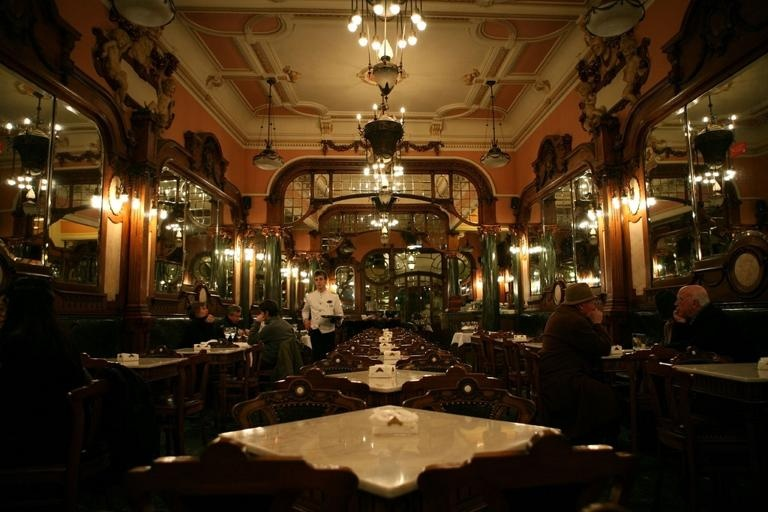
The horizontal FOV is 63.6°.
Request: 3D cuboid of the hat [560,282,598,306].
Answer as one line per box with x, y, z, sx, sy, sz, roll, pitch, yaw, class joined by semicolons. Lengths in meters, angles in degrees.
2.320;0.422;7.379;0.335;0.140;0.293;-10;4;-43;hat
